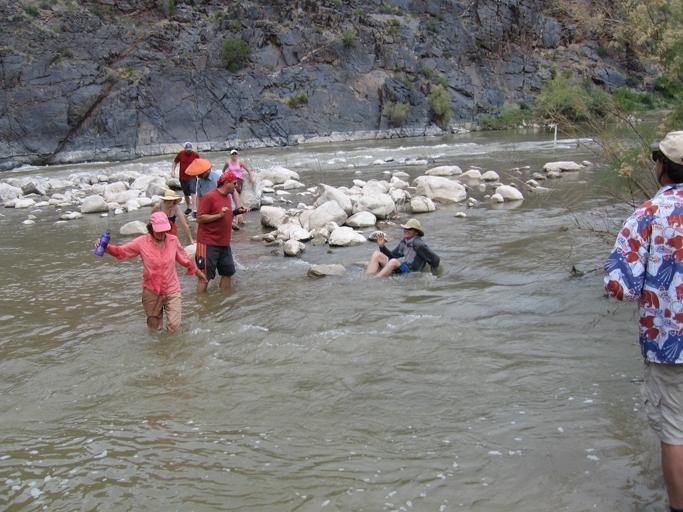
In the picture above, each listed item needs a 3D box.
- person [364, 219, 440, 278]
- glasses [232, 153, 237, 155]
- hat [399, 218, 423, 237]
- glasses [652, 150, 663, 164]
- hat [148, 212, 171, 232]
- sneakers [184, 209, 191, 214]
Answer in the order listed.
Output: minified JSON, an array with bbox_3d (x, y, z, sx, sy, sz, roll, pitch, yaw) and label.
[{"bbox_3d":[1.018,-0.077,13.150,1.672,0.987,0.847,1,11,11],"label":"person"},{"bbox_3d":[-2.599,-2.492,17.392,0.080,0.045,0.098,-3,4,-5],"label":"glasses"},{"bbox_3d":[1.300,-0.511,12.960,0.300,0.325,0.303,-5,13,10],"label":"hat"},{"bbox_3d":[3.239,-1.033,7.409,0.119,0.113,0.104,-1,-1,4],"label":"glasses"},{"bbox_3d":[-2.723,-0.502,10.784,0.289,0.316,0.299,-11,14,-15],"label":"hat"},{"bbox_3d":[-4.168,-1.218,19.556,0.176,0.101,0.276,0,0,7],"label":"sneakers"}]
